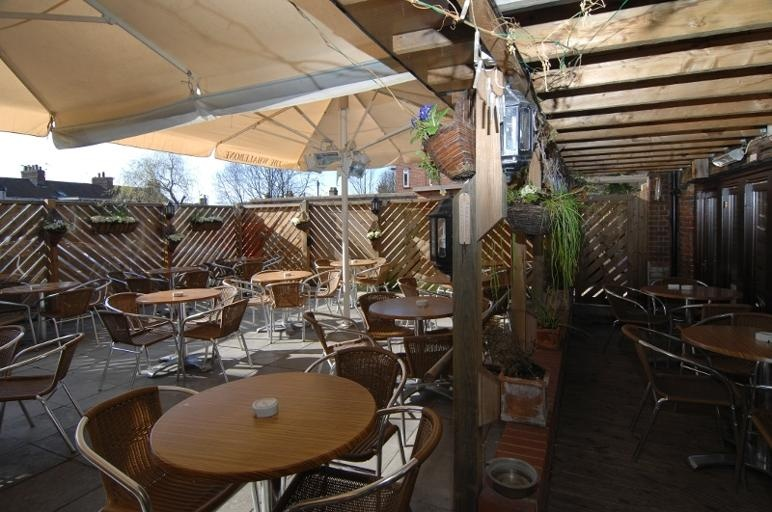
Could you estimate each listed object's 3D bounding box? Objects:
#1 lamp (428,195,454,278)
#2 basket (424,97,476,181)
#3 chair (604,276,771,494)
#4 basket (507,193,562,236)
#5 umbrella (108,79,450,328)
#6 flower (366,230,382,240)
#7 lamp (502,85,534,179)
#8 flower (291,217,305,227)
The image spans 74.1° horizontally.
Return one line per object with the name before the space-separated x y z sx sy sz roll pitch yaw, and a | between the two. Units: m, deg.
lamp | 0.400 -0.138 3.627 0.182 0.493 0.276 -5 1 4
basket | 0.379 -0.699 3.108 0.352 0.451 0.236 -5 1 21
chair | 2.601 1.075 4.300 1.092 1.352 1.154 -5 -2 33
basket | 1.092 -0.293 3.705 0.305 0.178 0.301 0 3 24
umbrella | -0.866 -0.486 6.585 3.097 2.022 2.839 -1 7 7
flower | -0.184 -0.365 9.064 0.190 0.110 0.182 -2 5 -14
lamp | 0.800 -0.757 3.085 0.218 0.470 0.148 -5 1 12
flower | -1.634 -0.631 9.574 0.212 0.108 0.202 2 2 -23
